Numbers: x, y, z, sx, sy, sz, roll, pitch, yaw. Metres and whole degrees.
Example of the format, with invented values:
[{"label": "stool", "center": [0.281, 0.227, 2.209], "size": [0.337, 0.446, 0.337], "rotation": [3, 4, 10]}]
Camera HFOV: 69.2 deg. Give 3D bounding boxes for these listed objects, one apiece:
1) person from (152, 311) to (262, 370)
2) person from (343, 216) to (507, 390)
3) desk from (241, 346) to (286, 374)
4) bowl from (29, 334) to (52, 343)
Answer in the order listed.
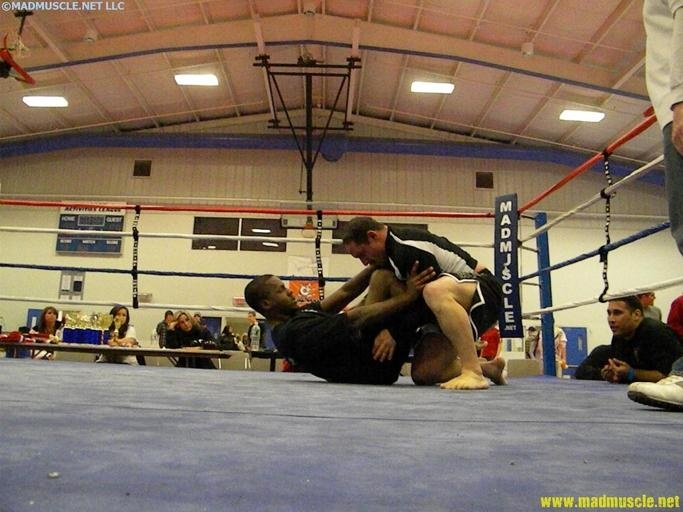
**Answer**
[{"label": "person", "center": [-1.667, 0.903, 5.697], "size": [1.090, 0.415, 1.019], "rotation": [0, -10, 2]}, {"label": "person", "center": [0.380, 0.175, 2.009], "size": [0.767, 0.675, 0.528], "rotation": [4, -11, -4]}, {"label": "desk", "center": [-0.790, 1.147, 5.580], "size": [0.545, 0.224, 0.536], "rotation": [-1, -4, 28]}, {"label": "bowl", "center": [-2.403, 0.655, 3.941], "size": [0.135, 0.053, 0.132], "rotation": [-1, -15, 0]}]
